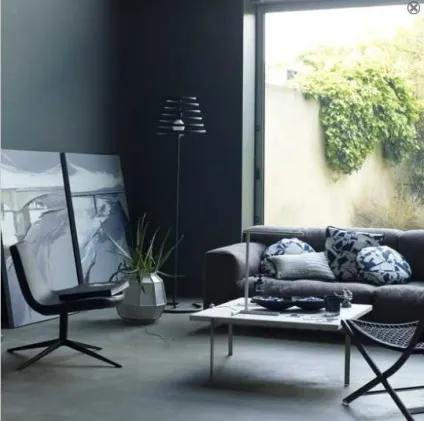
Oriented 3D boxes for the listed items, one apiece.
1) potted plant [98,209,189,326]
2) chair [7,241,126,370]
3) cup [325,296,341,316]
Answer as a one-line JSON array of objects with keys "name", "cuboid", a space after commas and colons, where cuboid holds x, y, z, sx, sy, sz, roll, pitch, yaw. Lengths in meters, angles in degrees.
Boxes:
[{"name": "potted plant", "cuboid": [-0.684, 0.573, 4.071, 0.690, 1.043, 0.900, -4, -9, 33]}, {"name": "chair", "cuboid": [-0.795, 0.573, 2.804, 0.719, 0.815, 0.621, 2, -2, -6]}, {"name": "cup", "cuboid": [0.673, 0.518, 2.383, 0.080, 0.106, 0.134, 0, -3, 14]}]
